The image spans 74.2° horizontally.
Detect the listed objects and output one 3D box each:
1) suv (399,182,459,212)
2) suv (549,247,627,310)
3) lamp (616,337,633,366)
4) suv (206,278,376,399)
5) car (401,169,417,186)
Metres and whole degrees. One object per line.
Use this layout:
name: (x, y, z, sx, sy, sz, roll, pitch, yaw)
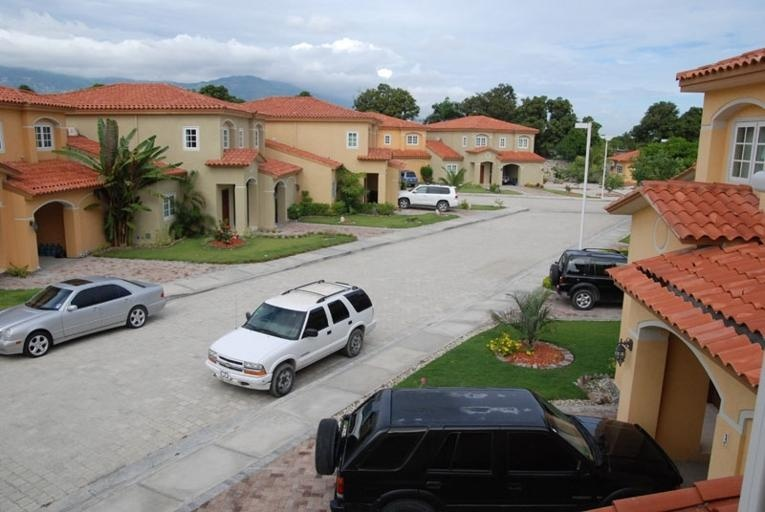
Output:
suv: (4.133, -5.123, 45.224, 5.568, 2.042, 2.544, 6, 11, 16)
suv: (9.006, 0.833, 21.284, 4.842, 2.253, 2.312, 0, 12, -12)
lamp: (5.785, 2.319, 12.177, 0.319, 0.811, 0.588, 2, 11, 17)
suv: (-2.503, 2.325, 15.177, 2.606, 1.637, 4.683, 9, 13, 35)
car: (3.026, -8.930, 58.148, 1.477, 1.151, 2.348, -2, 9, -9)
